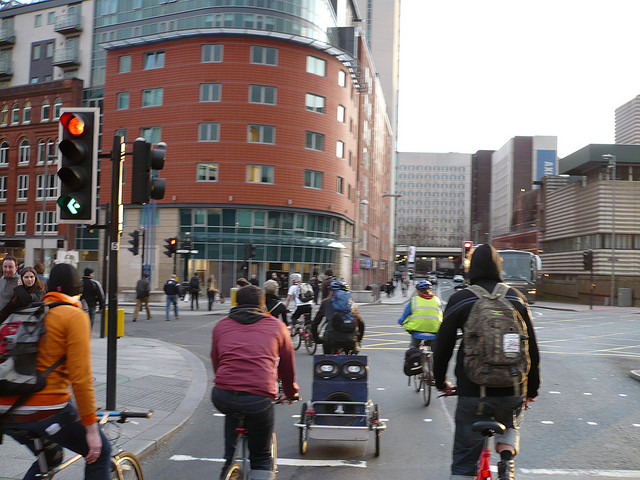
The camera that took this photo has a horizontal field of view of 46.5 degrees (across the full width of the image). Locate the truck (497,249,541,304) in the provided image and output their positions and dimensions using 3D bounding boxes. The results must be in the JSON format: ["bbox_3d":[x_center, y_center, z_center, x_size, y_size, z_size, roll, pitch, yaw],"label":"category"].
[{"bbox_3d":[10.495,1.916,40.384,3.717,2.643,7.365,0,-3,14],"label":"truck"}]

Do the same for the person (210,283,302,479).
[{"bbox_3d":[-0.762,1.596,8.456,0.964,2.147,0.468,1,-5,-6],"label":"person"}]

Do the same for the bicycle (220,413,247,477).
[{"bbox_3d":[-0.965,2.267,8.198,0.263,0.711,0.355,0,-5,12],"label":"bicycle"}]

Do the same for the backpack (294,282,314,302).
[{"bbox_3d":[-0.588,1.382,19.714,0.684,0.429,0.463,-2,-1,12],"label":"backpack"}]

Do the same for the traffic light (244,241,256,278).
[{"bbox_3d":[-2.977,0.684,31.120,0.384,0.964,0.637,1,-4,-5],"label":"traffic light"}]

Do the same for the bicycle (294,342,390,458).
[{"bbox_3d":[0.293,2.289,11.131,1.351,0.960,1.637,0,-4,5],"label":"bicycle"}]

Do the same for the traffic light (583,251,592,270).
[{"bbox_3d":[13.988,1.070,38.929,0.357,0.976,1.384,-1,-4,21],"label":"traffic light"}]

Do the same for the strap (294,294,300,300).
[{"bbox_3d":[-0.614,1.496,19.439,0.129,0.114,0.077,2,-5,-23],"label":"strap"}]

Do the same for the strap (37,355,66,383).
[{"bbox_3d":[-2.674,1.291,7.429,0.279,0.062,0.157,-32,17,-20],"label":"strap"}]

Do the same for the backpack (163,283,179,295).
[{"bbox_3d":[-5.194,1.718,26.128,0.512,0.395,0.401,2,-4,-17],"label":"backpack"}]

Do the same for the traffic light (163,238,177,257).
[{"bbox_3d":[-6.256,0.295,31.326,0.347,0.766,1.087,2,-4,-16],"label":"traffic light"}]

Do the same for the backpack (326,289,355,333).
[{"bbox_3d":[0.345,1.214,12.758,0.483,0.728,0.283,1,-5,0],"label":"backpack"}]

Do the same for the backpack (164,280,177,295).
[{"bbox_3d":[-5.240,1.659,26.084,0.421,0.504,0.328,1,-4,-7],"label":"backpack"}]

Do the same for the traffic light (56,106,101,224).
[{"bbox_3d":[-3.383,-1.055,10.380,0.536,1.648,0.574,2,-5,-16],"label":"traffic light"}]

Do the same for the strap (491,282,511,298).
[{"bbox_3d":[1.962,0.528,8.093,0.178,0.182,0.185,22,21,18],"label":"strap"}]

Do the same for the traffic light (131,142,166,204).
[{"bbox_3d":[-2.541,-0.964,11.001,0.467,0.927,0.445,2,-5,-12],"label":"traffic light"}]

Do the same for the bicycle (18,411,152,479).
[{"bbox_3d":[-2.490,2.215,7.856,1.275,0.848,0.793,1,-4,-13],"label":"bicycle"}]

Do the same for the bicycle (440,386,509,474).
[{"bbox_3d":[1.712,2.030,8.040,0.532,0.846,0.830,2,-4,-12],"label":"bicycle"}]
